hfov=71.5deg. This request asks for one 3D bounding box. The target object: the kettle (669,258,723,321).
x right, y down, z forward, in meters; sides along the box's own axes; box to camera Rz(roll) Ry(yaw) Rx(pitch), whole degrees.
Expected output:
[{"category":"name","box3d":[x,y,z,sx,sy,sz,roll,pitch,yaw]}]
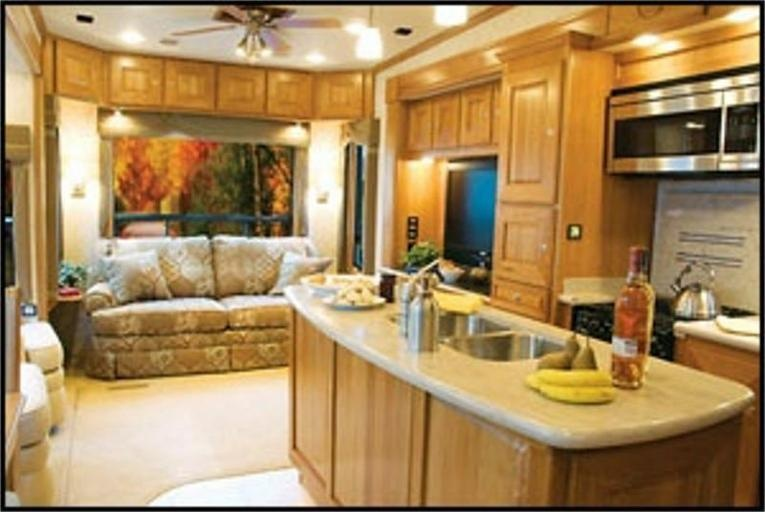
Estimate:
[{"category":"kettle","box3d":[2.112,0.235,3.509,0.441,0.396,0.327,0,2,-38]}]

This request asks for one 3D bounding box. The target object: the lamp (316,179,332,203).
[{"category":"lamp","box3d":[-0.788,-0.845,7.031,0.198,0.306,0.115,0,13,-7]}]

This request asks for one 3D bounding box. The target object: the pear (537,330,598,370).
[{"category":"pear","box3d":[0.738,0.388,2.126,0.215,0.123,0.221,5,11,15]}]

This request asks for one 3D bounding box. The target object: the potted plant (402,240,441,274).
[{"category":"potted plant","box3d":[0.446,0.015,5.850,0.400,0.370,0.367,-12,-1,-3]}]

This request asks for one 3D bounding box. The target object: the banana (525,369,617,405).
[{"category":"banana","box3d":[0.712,0.483,1.966,0.258,0.062,0.117,1,48,6]}]

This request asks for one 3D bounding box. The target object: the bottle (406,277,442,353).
[{"category":"bottle","box3d":[0.185,0.251,2.418,0.142,0.344,0.185,3,13,3]}]

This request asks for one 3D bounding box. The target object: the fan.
[{"category":"fan","box3d":[-1.168,-2.097,4.889,0.764,0.250,0.756,-5,5,-44]}]

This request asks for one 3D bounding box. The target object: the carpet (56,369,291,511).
[{"category":"carpet","box3d":[-1.628,1.346,4.201,1.683,0.057,1.879,-4,12,-29]}]

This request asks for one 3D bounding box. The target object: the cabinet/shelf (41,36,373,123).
[{"category":"cabinet/shelf","box3d":[-1.831,-1.914,5.928,3.237,0.611,0.485,-2,13,-21]}]

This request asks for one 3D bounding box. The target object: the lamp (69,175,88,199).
[{"category":"lamp","box3d":[-3.348,-0.746,5.832,0.185,0.219,0.064,3,3,-12]}]
